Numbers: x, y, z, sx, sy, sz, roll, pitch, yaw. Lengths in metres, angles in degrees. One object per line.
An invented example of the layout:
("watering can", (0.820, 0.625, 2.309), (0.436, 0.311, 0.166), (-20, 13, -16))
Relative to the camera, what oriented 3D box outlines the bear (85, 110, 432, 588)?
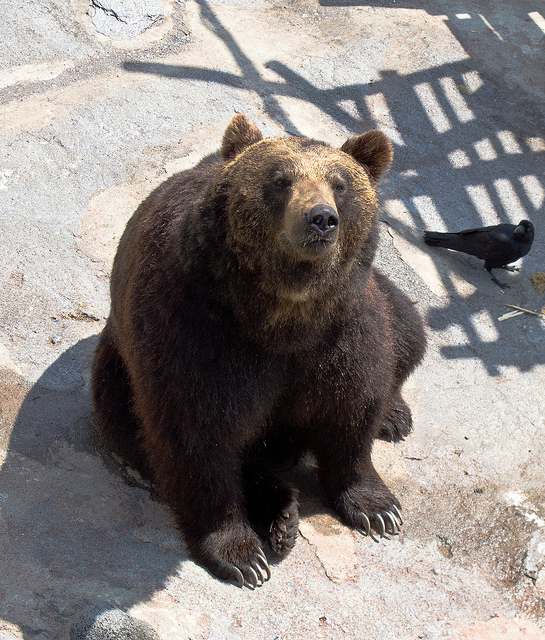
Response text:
("bear", (-0.092, 0.042, 6.031), (2.460, 2.608, 3.042), (-6, 10, -16))
